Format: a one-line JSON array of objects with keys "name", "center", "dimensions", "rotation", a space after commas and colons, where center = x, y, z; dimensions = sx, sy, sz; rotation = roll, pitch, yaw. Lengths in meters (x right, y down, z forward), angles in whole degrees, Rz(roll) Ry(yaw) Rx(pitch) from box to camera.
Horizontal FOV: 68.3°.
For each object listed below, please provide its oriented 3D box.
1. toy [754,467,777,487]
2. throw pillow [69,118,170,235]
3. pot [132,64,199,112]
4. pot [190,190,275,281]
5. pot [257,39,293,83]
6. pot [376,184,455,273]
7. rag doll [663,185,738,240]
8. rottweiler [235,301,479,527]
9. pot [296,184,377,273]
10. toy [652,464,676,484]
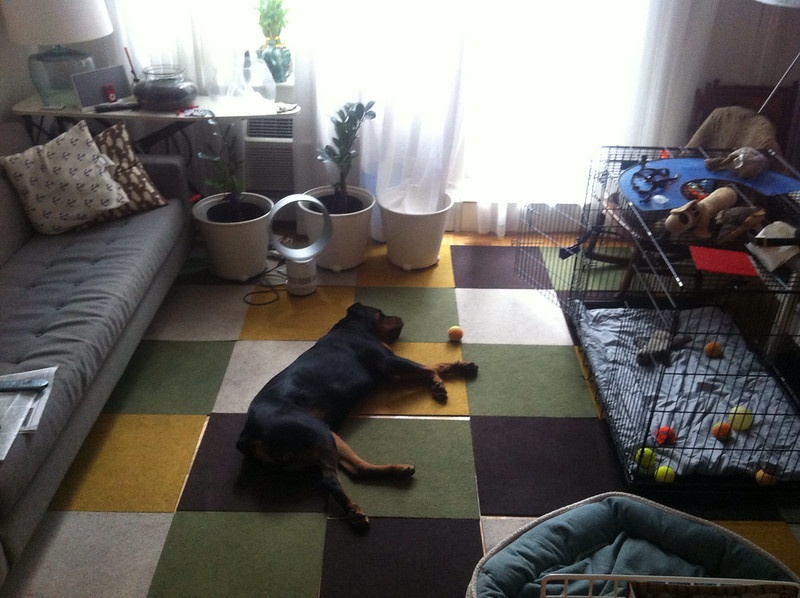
[{"name": "toy", "center": [1.591, 0.780, 2.564], "dimensions": [0.082, 0.064, 0.056], "rotation": [17, 38, 25]}, {"name": "throw pillow", "center": [-1.670, -0.683, 3.527], "dimensions": [0.172, 0.564, 0.584], "rotation": [-13, 15, 39]}, {"name": "pot", "center": [-1.430, -1.258, 3.609], "dimensions": [0.331, 0.227, 0.334], "rotation": [2, 31, -1]}, {"name": "pot", "center": [-1.043, -0.379, 3.851], "dimensions": [0.542, 0.471, 0.564], "rotation": [3, 39, -3]}, {"name": "pot", "center": [-0.796, -1.533, 3.834], "dimensions": [0.083, 0.251, 0.196], "rotation": [-14, 37, -9]}, {"name": "pot", "center": [0.050, -0.450, 3.943], "dimensions": [0.528, 0.428, 0.511], "rotation": [1, 27, 0]}, {"name": "rag doll", "center": [1.480, -0.416, 2.889], "dimensions": [0.428, 0.197, 0.175], "rotation": [-20, 38, -26]}, {"name": "rottweiler", "center": [-0.222, 0.433, 3.003], "dimensions": [0.992, 0.483, 1.286], "rotation": [17, 29, 20]}, {"name": "pot", "center": [-0.402, -0.507, 3.878], "dimensions": [0.519, 0.437, 0.543], "rotation": [3, 34, -2]}, {"name": "toy", "center": [1.164, 0.769, 2.585], "dimensions": [0.097, 0.056, 0.051], "rotation": [-1, 34, 0]}]
